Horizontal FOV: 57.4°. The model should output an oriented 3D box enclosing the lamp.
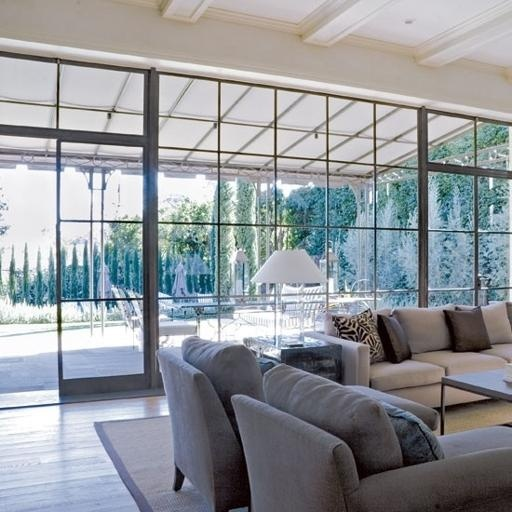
[{"bbox_3d":[0.265,0.311,3.724,0.637,0.873,0.494,6,14,38],"label":"lamp"}]
